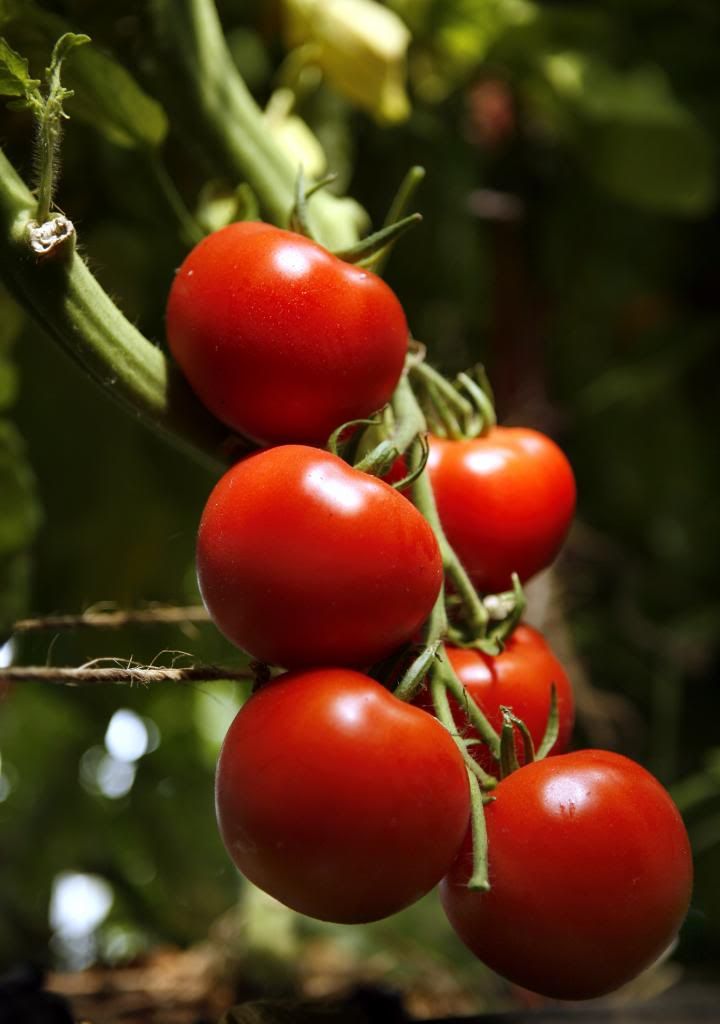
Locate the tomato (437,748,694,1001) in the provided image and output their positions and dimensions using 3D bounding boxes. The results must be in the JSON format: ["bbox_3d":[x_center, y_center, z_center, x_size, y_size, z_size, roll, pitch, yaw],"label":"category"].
[{"bbox_3d":[0.068,0.121,0.346,0.084,0.084,0.077,22,71,-23],"label":"tomato"}]

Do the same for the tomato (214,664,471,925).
[{"bbox_3d":[0.002,0.091,0.315,0.067,0.065,0.058,5,77,-3],"label":"tomato"}]

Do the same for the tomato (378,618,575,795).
[{"bbox_3d":[0.044,0.071,0.386,0.054,0.051,0.049,-26,82,6],"label":"tomato"}]

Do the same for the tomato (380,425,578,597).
[{"bbox_3d":[0.050,0.000,0.422,0.071,0.064,0.059,-6,89,8],"label":"tomato"}]

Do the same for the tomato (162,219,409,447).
[{"bbox_3d":[-0.024,-0.068,0.348,0.074,0.079,0.062,20,115,32],"label":"tomato"}]

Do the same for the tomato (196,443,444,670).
[{"bbox_3d":[-0.011,0.012,0.345,0.075,0.068,0.062,16,85,-9],"label":"tomato"}]
